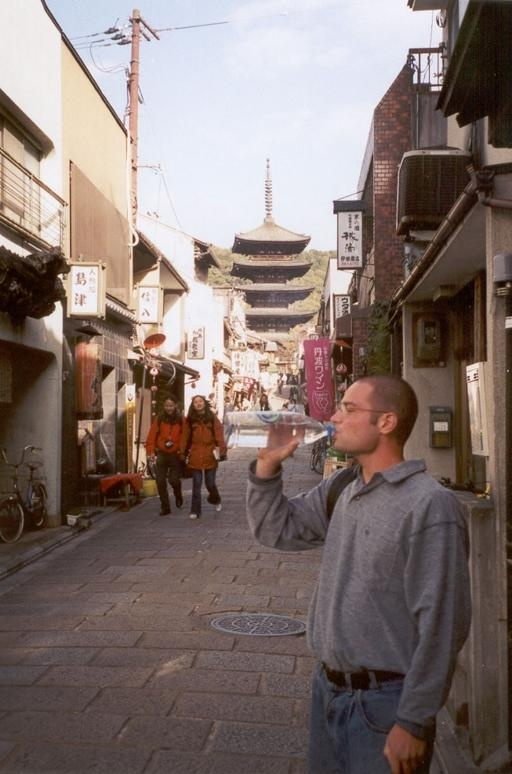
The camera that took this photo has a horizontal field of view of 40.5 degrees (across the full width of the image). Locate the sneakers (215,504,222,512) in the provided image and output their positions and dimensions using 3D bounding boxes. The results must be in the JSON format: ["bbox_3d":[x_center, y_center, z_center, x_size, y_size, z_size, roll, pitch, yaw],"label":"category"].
[{"bbox_3d":[-0.583,1.873,10.784,0.079,0.117,0.261,-2,-8,0],"label":"sneakers"}]

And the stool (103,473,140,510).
[{"bbox_3d":[-2.302,1.753,11.907,0.358,0.422,0.651,1,0,6],"label":"stool"}]

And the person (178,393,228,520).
[{"bbox_3d":[-0.757,1.016,10.193,0.619,1.757,0.658,1,-2,-37],"label":"person"}]

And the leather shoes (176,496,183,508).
[{"bbox_3d":[-1.248,1.876,11.310,0.067,0.195,0.079,2,4,8],"label":"leather shoes"}]

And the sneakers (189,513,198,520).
[{"bbox_3d":[-0.886,1.854,10.008,0.123,0.080,0.127,-1,-2,-2],"label":"sneakers"}]

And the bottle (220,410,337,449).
[{"bbox_3d":[0.074,0.114,1.991,0.350,0.138,0.124,2,5,7],"label":"bottle"}]
